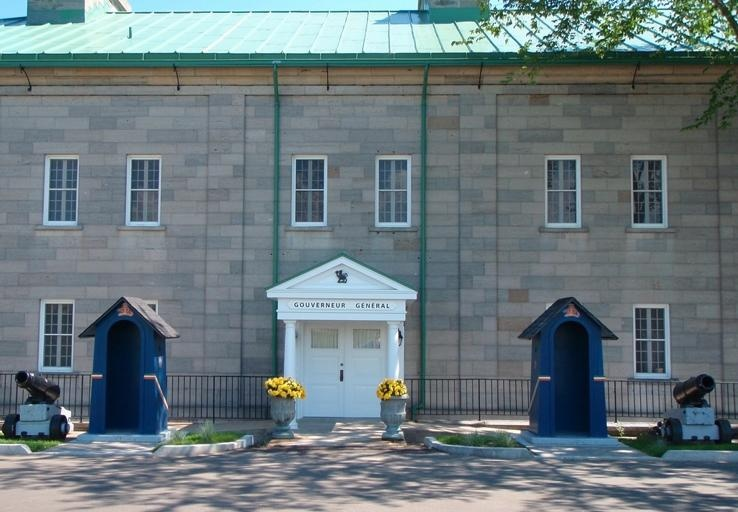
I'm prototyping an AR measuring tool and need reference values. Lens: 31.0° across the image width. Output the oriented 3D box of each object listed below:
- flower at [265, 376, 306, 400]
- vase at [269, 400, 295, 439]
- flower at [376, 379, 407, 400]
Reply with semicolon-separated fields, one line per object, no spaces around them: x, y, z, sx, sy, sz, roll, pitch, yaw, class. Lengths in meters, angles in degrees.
-2.563;4.215;42.539;1.025;0.468;0.947;5;-4;2;flower
-2.549;5.149;42.340;0.645;1.270;1.000;-5;-8;37;vase
0.784;4.280;42.687;0.897;0.497;0.768;2;-14;-2;flower
